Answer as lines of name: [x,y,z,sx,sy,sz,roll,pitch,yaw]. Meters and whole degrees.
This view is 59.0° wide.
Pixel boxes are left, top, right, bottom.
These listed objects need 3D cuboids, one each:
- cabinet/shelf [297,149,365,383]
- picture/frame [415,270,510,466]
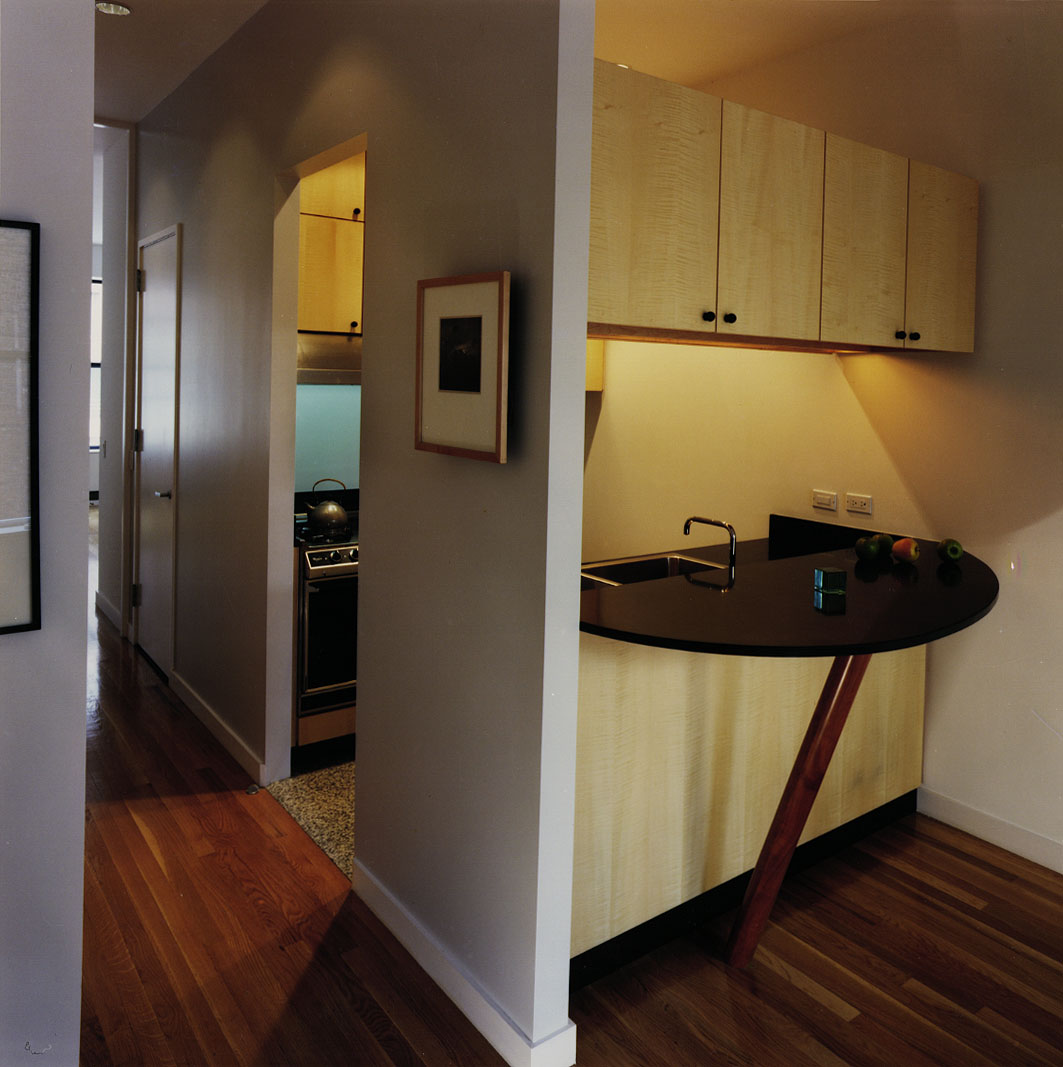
cabinet/shelf: [-0.775,-1.000,3.611,0.252,0.856,0.763,-1,9,-14]
picture/frame: [-0.155,-0.381,2.156,0.070,0.401,0.384,-5,11,-34]
